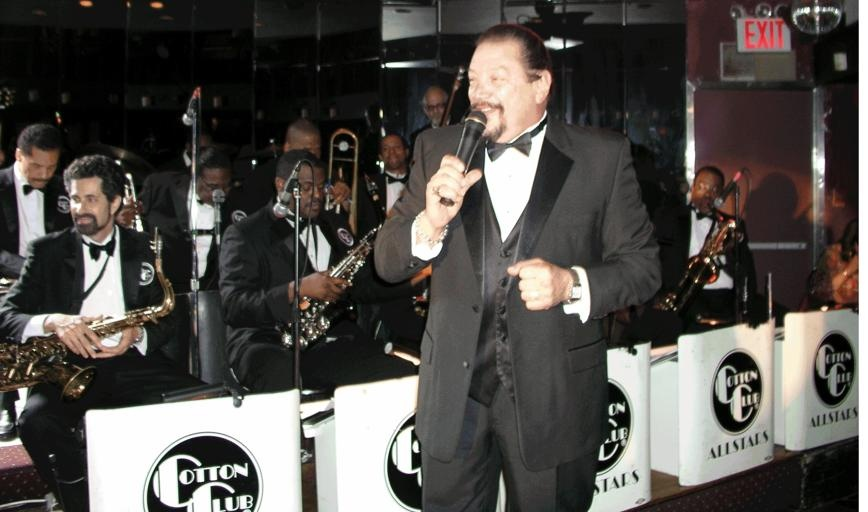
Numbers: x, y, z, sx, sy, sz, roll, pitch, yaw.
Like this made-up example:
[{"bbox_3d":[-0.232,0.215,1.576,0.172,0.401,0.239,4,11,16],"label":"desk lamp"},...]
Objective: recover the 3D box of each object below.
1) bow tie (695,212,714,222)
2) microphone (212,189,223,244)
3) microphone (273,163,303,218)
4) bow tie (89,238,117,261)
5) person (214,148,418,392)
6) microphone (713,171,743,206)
[{"bbox_3d":[2.269,-0.332,6.268,0.200,0.123,0.019,-4,6,-17],"label":"bow tie"},{"bbox_3d":[-1.459,-0.268,5.049,0.092,0.377,0.028,-6,7,-31],"label":"microphone"},{"bbox_3d":[-0.999,-0.458,5.127,0.214,0.391,0.198,-6,6,-26],"label":"microphone"},{"bbox_3d":[-2.162,-0.045,4.817,0.138,0.120,0.041,-9,-4,-27],"label":"bow tie"},{"bbox_3d":[-0.949,0.250,5.237,0.961,1.975,0.814,-3,5,-36],"label":"person"},{"bbox_3d":[2.481,-0.573,6.309,0.072,0.320,0.094,39,-15,23],"label":"microphone"}]
